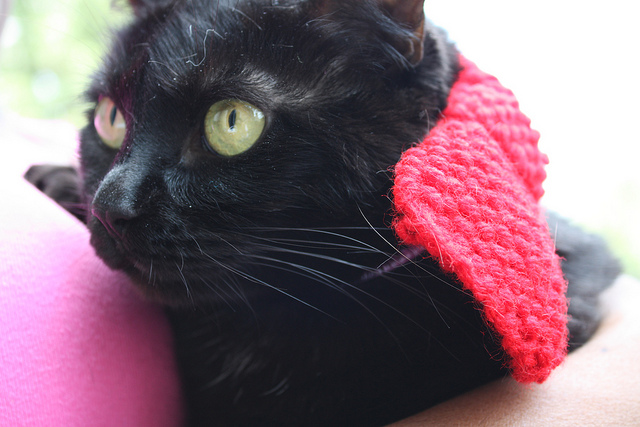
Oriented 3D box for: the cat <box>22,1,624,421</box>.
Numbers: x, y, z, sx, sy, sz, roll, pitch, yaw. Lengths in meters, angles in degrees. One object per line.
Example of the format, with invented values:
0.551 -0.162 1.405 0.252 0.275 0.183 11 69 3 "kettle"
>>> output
-0.053 -0.018 1.146 0.763 0.612 0.450 -2 6 -27 "cat"
